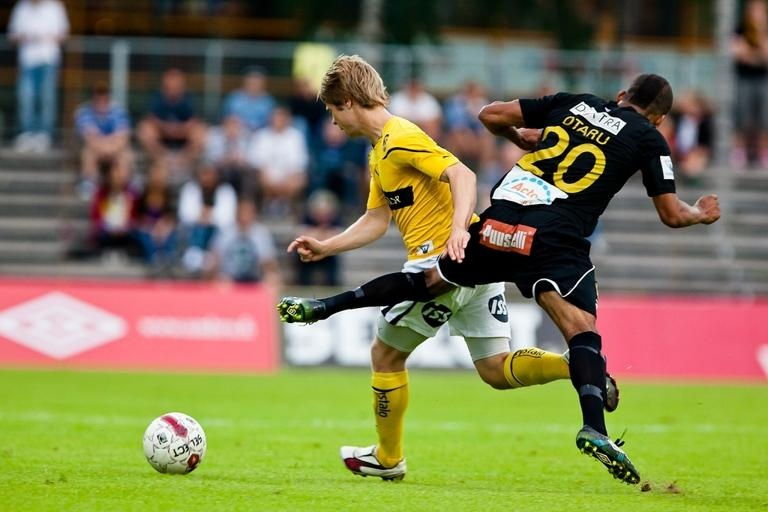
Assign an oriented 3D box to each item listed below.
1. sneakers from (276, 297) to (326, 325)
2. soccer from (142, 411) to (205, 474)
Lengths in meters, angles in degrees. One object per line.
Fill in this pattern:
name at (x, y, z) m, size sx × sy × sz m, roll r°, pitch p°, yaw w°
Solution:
sneakers at (-0.847, 0.588, 11.626) m, size 0.444 × 0.257 × 0.165 m, roll -1°, pitch -11°, yaw -13°
soccer at (-2.200, 1.977, 11.740) m, size 0.656 × 0.653 × 0.639 m, roll -9°, pitch 23°, yaw -32°
